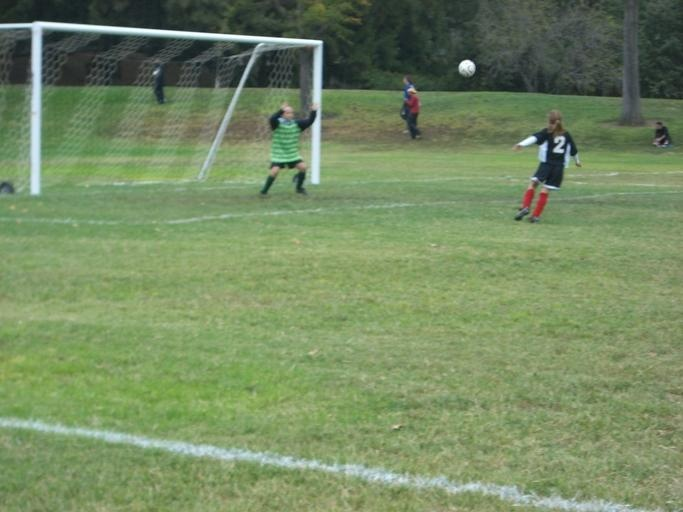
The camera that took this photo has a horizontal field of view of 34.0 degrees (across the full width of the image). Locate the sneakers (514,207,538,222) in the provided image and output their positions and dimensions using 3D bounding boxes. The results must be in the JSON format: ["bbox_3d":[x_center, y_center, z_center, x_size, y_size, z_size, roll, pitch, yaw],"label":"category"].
[{"bbox_3d":[2.800,-0.600,17.087,0.431,0.150,0.185,18,53,41],"label":"sneakers"}]

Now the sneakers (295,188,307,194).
[{"bbox_3d":[-0.691,-1.105,19.016,0.170,0.073,0.074,0,21,12],"label":"sneakers"}]

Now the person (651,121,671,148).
[{"bbox_3d":[9.152,-3.437,31.654,0.488,0.726,1.133,4,10,16],"label":"person"}]
